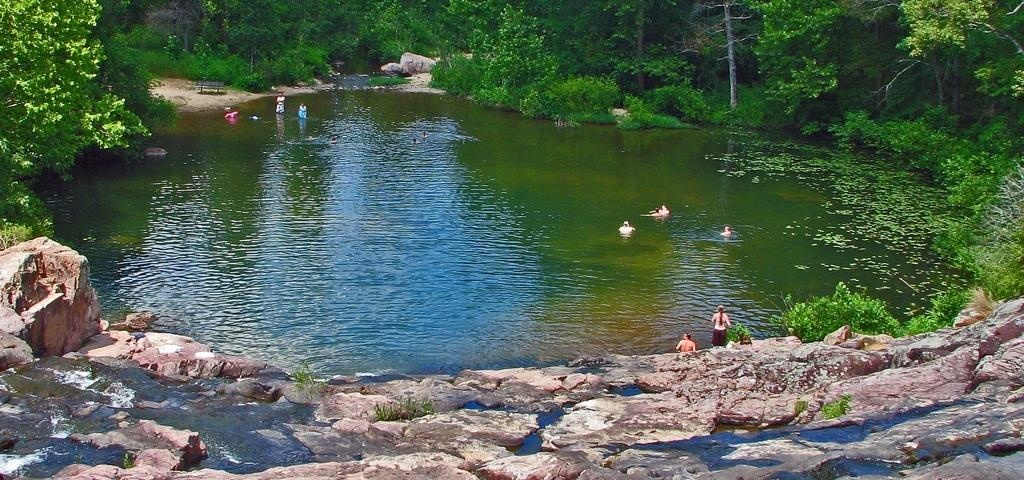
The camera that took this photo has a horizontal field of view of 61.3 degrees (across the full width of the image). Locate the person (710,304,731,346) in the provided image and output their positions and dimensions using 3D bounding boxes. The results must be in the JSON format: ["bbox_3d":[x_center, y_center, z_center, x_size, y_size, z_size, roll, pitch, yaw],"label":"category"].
[{"bbox_3d":[15.867,6.562,65.060,1.126,3.237,1.262,6,23,11],"label":"person"}]

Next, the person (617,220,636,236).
[{"bbox_3d":[10.477,-1.051,77.940,1.619,0.825,1.389,2,20,10],"label":"person"}]

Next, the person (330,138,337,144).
[{"bbox_3d":[-20.199,-11.232,98.530,1.129,0.245,0.995,-4,26,-19],"label":"person"}]

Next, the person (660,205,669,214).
[{"bbox_3d":[14.388,-2.803,80.885,0.862,0.372,0.922,-3,33,4],"label":"person"}]
